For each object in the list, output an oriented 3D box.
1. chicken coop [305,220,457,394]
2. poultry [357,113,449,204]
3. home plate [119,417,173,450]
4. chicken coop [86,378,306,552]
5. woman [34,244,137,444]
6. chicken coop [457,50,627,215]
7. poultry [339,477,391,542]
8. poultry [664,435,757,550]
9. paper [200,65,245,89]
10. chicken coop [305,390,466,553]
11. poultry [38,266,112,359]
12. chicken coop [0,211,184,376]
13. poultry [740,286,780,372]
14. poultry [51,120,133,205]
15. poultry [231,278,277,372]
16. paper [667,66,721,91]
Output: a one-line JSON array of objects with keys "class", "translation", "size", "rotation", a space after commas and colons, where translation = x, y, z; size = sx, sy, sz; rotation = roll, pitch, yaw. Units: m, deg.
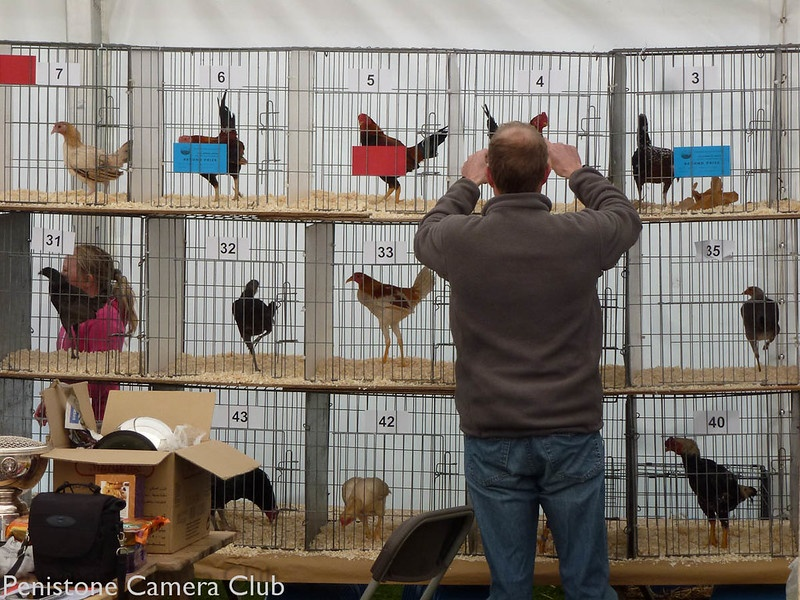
[{"class": "chicken coop", "translation": [-0.171, 0.016, 8.851], "size": [0.748, 0.915, 0.447], "rotation": [2, 1, 26]}, {"class": "poultry", "translation": [-0.020, -0.779, 8.690], "size": [0.549, 0.511, 0.180], "rotation": [9, -15, -5]}, {"class": "home plate", "translation": [-1.273, 0.660, 7.498], "size": [0.177, 0.062, 0.180], "rotation": [15, 10, -30]}, {"class": "chicken coop", "translation": [-1.139, 0.868, 7.552], "size": [0.814, 0.752, 0.536], "rotation": [-1, 2, -8]}, {"class": "woman", "translation": [-1.955, 0.285, 9.104], "size": [0.505, 1.222, 0.492], "rotation": [20, 23, 30]}, {"class": "chicken coop", "translation": [0.833, -0.798, 8.772], "size": [1.040, 1.057, 0.647], "rotation": [1, 0, 3]}, {"class": "poultry", "translation": [-0.219, 1.221, 8.710], "size": [0.283, 0.368, 0.294], "rotation": [-1, 2, -5]}, {"class": "poultry", "translation": [1.812, 1.131, 8.652], "size": [0.525, 0.623, 0.310], "rotation": [0, 2, 12]}, {"class": "paper", "translation": [-1.036, -1.261, 8.535], "size": [0.251, 0.144, 0.156], "rotation": [-1, 2, -13]}, {"class": "chicken coop", "translation": [-0.047, 0.998, 9.388], "size": [0.558, 0.785, 0.831], "rotation": [-6, -15, 43]}, {"class": "poultry", "translation": [-1.971, 0.067, 8.883], "size": [0.381, 0.576, 0.134], "rotation": [-1, 26, -14]}, {"class": "chicken coop", "translation": [-1.657, 0.032, 8.802], "size": [1.048, 0.993, 0.720], "rotation": [-1, 2, -12]}, {"class": "poultry", "translation": [2.133, 0.181, 8.780], "size": [0.228, 0.489, 0.345], "rotation": [0, 2, 14]}, {"class": "poultry", "translation": [-1.822, -0.792, 8.761], "size": [0.448, 0.480, 0.311], "rotation": [1, 2, 38]}, {"class": "poultry", "translation": [-0.880, 0.115, 8.776], "size": [0.190, 0.651, 0.238], "rotation": [3, 14, 5]}, {"class": "paper", "translation": [1.671, -1.236, 8.448], "size": [0.361, 0.162, 0.262], "rotation": [-1, 2, -1]}]
